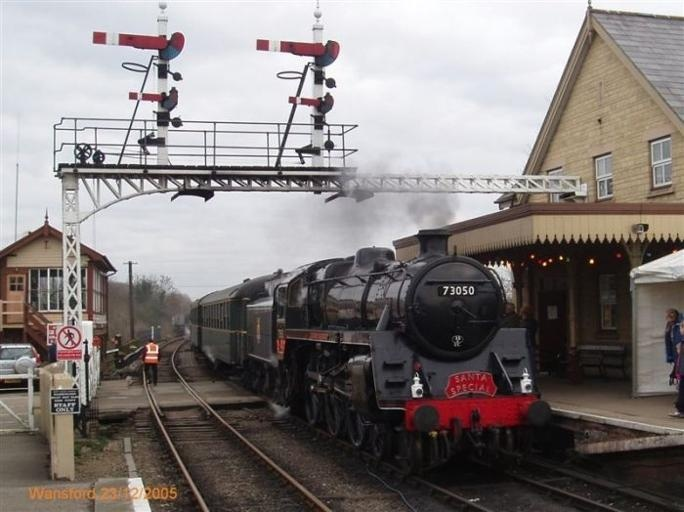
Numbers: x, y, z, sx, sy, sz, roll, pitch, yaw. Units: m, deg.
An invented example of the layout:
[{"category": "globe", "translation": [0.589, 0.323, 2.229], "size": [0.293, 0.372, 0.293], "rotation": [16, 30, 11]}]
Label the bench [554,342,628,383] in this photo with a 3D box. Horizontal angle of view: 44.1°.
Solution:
[{"category": "bench", "translation": [5.981, 2.464, 20.061], "size": [1.439, 0.829, 1.958], "rotation": [-1, -2, 2]}]
